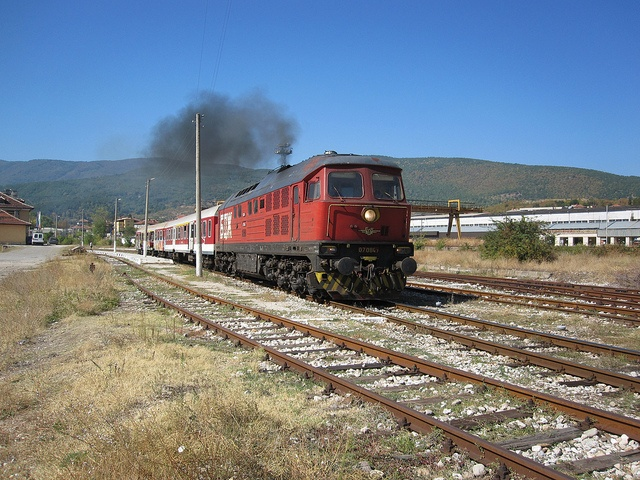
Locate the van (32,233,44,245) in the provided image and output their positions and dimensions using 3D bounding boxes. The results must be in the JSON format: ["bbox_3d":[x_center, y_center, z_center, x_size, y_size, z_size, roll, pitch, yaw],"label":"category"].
[{"bbox_3d":[-55.336,-0.123,89.038,1.727,1.768,3.016,1,1,-26],"label":"van"}]
